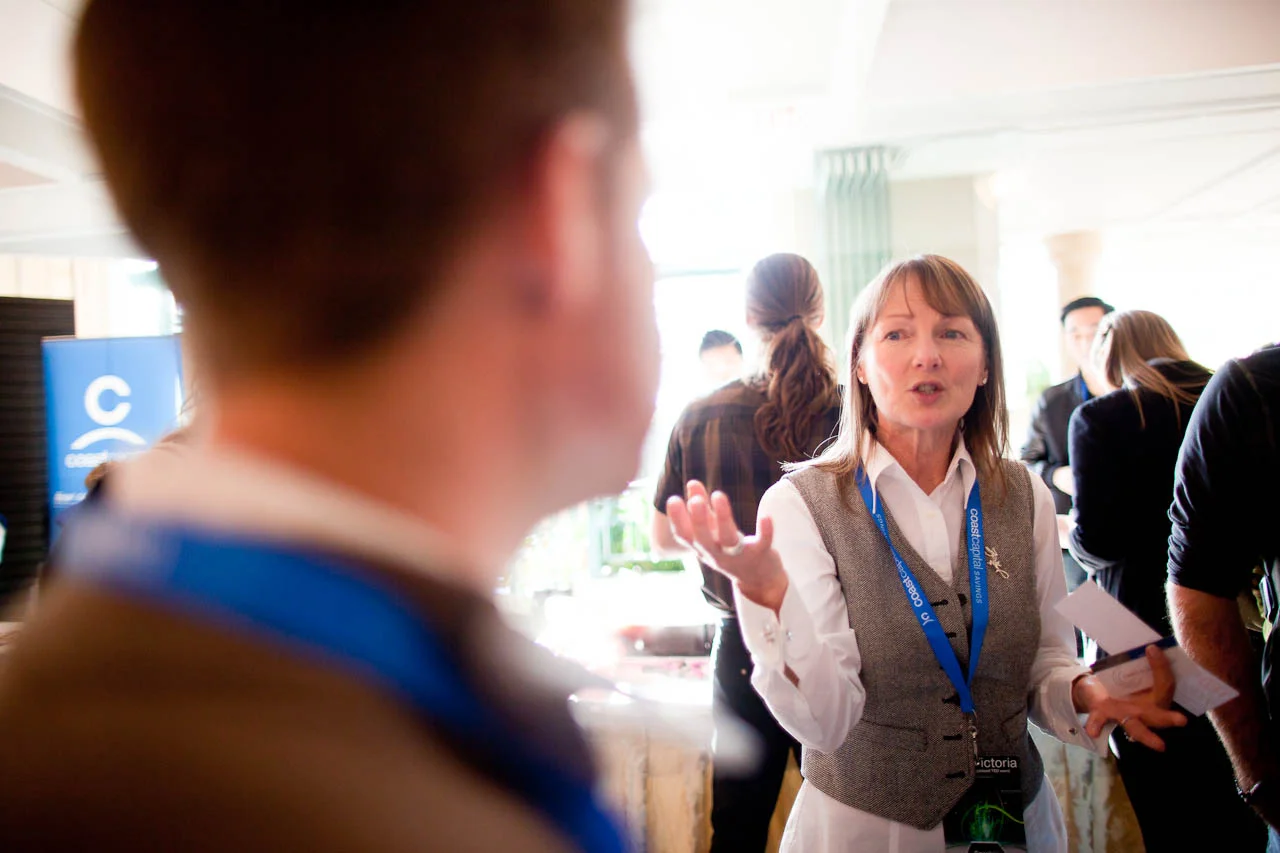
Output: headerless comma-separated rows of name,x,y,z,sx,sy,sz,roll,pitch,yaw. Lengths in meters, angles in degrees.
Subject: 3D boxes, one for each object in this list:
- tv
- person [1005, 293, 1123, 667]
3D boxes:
tv,-2.316,0.118,3.991,0.556,1.040,0.101,-5,-12,-13
person,2.068,0.250,4.081,0.584,1.704,0.447,8,41,36
